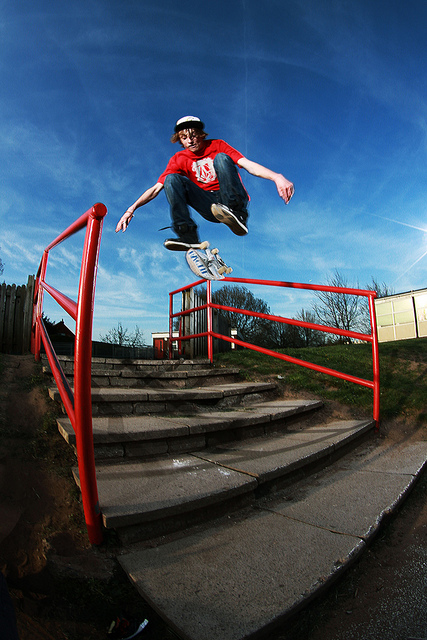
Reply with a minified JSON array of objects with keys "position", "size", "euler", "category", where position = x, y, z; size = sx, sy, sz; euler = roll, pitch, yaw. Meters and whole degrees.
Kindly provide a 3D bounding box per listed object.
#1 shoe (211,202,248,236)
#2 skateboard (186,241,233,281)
[{"position":[0.184,-1.083,4.001],"size":[0.299,0.289,0.607],"euler":[4,1,26],"category":"shoe"},{"position":[-0.062,-0.706,4.545],"size":[0.555,0.390,0.241],"euler":[3,1,2],"category":"skateboard"}]
